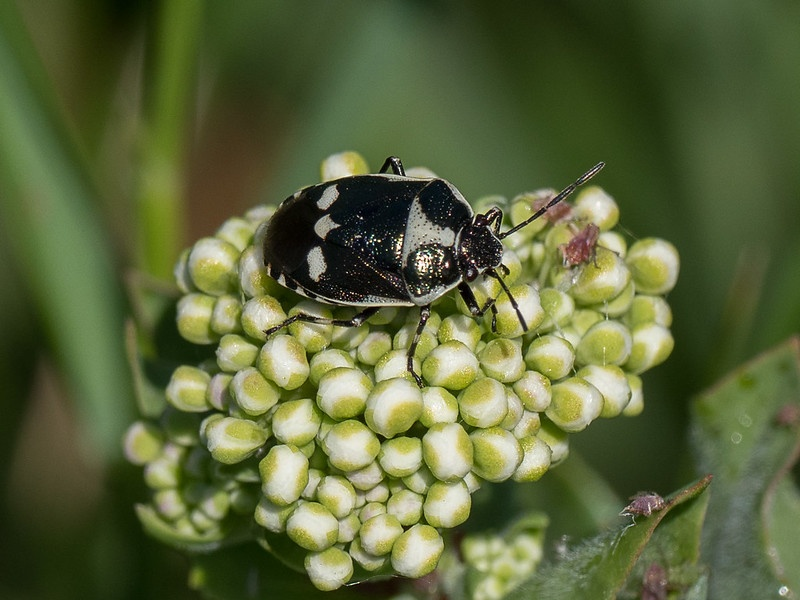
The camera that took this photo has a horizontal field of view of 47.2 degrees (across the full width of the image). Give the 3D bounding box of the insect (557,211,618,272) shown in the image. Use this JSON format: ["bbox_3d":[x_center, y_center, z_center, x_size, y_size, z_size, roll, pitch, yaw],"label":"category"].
[{"bbox_3d":[0.565,-0.165,2.818,0.184,0.049,0.145,34,68,4],"label":"insect"}]

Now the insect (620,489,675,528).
[{"bbox_3d":[0.706,0.586,2.644,0.099,0.031,0.098,-41,20,-10],"label":"insect"}]
